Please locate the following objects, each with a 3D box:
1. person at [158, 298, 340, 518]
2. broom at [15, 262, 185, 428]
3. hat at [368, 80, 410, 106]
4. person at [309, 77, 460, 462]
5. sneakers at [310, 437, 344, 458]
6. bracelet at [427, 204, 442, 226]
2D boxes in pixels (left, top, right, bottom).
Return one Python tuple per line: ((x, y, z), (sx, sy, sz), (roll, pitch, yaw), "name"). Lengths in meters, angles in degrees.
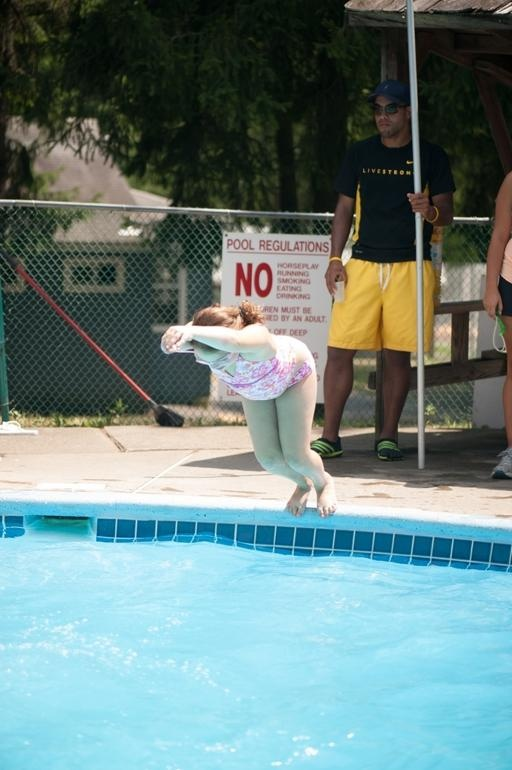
((0.011, 0.162, 3.702), (0.376, 0.967, 1.156), (4, 14, 19), "person")
((-1.125, -0.327, 7.383), (1.225, 1.166, 0.930), (0, 14, 3), "broom")
((0.701, -1.519, 5.145), (0.136, 0.096, 0.201), (11, 7, 42), "hat")
((0.699, -0.582, 5.441), (0.725, 2.106, 0.541), (2, 14, 10), "person")
((0.405, 0.365, 5.584), (0.083, 0.080, 0.217), (-5, -10, 38), "sneakers")
((0.951, -0.898, 5.209), (0.096, 0.090, 0.074), (16, 8, 38), "bracelet")
